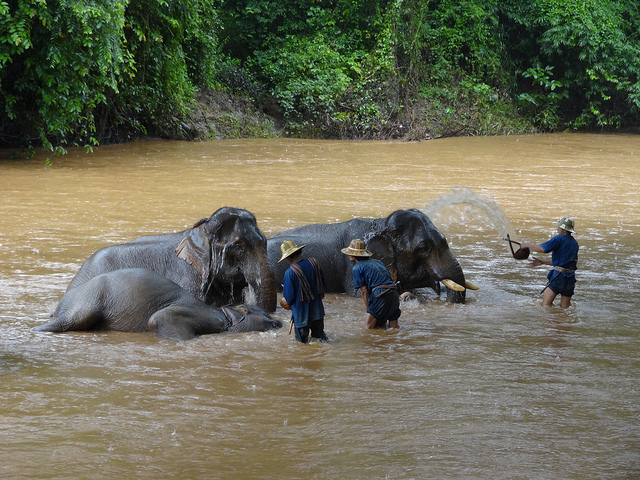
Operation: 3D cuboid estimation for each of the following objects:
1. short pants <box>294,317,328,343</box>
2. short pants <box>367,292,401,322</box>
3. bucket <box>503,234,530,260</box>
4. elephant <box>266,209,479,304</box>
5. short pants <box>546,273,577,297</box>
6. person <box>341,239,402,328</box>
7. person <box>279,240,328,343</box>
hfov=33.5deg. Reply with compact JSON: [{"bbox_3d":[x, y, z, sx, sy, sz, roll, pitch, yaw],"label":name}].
[{"bbox_3d":[-0.114,1.185,13.949,0.357,0.336,0.135,1,-20,-27],"label":"short pants"},{"bbox_3d":[0.865,0.905,14.336,0.394,0.307,0.211,14,0,-15],"label":"short pants"},{"bbox_3d":[2.884,0.138,15.771,0.429,0.327,0.288,7,13,31],"label":"bucket"},{"bbox_3d":[0.781,0.543,16.012,3.669,1.721,1.486,-2,8,32],"label":"elephant"},{"bbox_3d":[3.400,0.642,15.036,0.319,0.253,0.161,18,-14,-3],"label":"short pants"},{"bbox_3d":[0.770,0.591,14.513,0.587,1.136,0.667,-5,10,-12],"label":"person"},{"bbox_3d":[-0.180,0.679,14.063,0.537,1.269,0.582,-3,10,-1],"label":"person"}]
